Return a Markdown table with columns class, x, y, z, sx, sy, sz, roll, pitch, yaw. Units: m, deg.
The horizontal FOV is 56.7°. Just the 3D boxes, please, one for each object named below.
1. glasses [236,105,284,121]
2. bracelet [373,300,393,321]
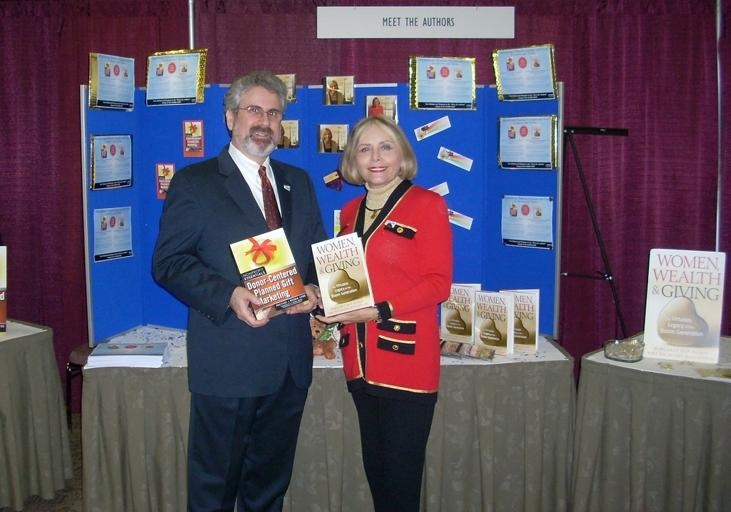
| class | x | y | z | sx | sy | sz | roll | pitch | yaw |
| --- | --- | --- | --- | --- | --- | --- | --- | --- | --- |
| glasses | -0.490 | -0.658 | 3.140 | 0.204 | 0.069 | 0.051 | -2 | 4 | -15 |
| bracelet | 0.082 | 0.247 | 3.041 | 0.063 | 0.062 | 0.084 | -3 | 2 | 0 |
